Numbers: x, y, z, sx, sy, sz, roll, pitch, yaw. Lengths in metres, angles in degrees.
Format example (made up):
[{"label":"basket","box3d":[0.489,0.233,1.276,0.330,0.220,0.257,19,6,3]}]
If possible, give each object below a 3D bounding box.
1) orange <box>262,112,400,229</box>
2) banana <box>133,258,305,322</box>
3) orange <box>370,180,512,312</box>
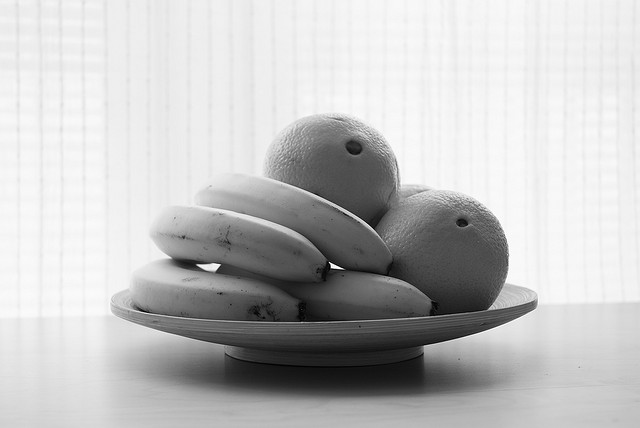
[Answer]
[{"label":"orange","box3d":[0.051,-0.072,1.430,0.218,0.219,0.216,-6,-7,0]},{"label":"banana","box3d":[-0.191,0.143,1.240,0.237,0.067,0.122,9,-2,11]},{"label":"orange","box3d":[0.242,0.041,1.377,0.184,0.176,0.195,14,-30,-31]}]
